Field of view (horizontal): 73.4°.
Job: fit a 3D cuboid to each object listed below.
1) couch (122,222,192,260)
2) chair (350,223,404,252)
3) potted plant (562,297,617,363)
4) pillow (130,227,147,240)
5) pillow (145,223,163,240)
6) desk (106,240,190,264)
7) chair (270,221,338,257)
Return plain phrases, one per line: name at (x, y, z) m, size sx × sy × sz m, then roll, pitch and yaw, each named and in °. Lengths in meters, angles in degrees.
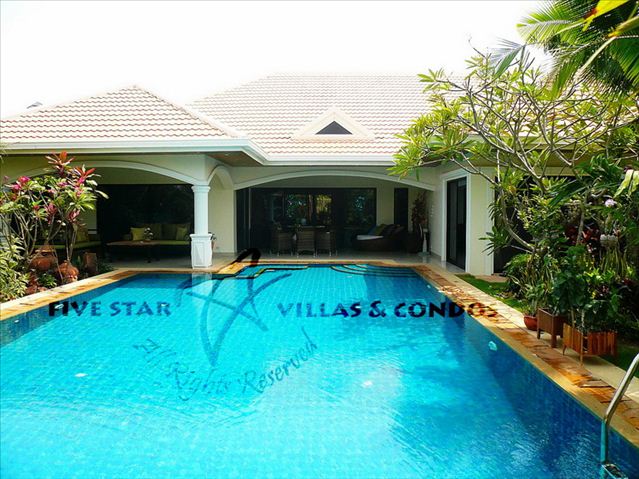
couch at (-6.013, 0.315, 16.533) m, size 2.343 × 1.159 × 1.596 m, roll 0°, pitch 3°, yaw -12°
chair at (2.491, -0.027, 18.160) m, size 1.639 × 0.828 × 1.356 m, roll 4°, pitch -1°, yaw -3°
potted plant at (3.506, 1.203, 5.747) m, size 0.586 × 0.531 × 0.911 m, roll -2°, pitch -5°, yaw 7°
pillow at (-6.939, -0.223, 16.379) m, size 0.574 × 0.491 × 0.186 m, roll 4°, pitch -30°, yaw -19°
pillow at (-6.593, -0.305, 16.940) m, size 0.762 × 0.606 × 0.246 m, roll -1°, pitch -2°, yaw -12°
desk at (-6.319, 0.349, 16.052) m, size 2.767 × 0.812 × 2.789 m, roll -2°, pitch 6°, yaw -18°
chair at (-0.665, -0.011, 16.979) m, size 1.906 × 0.729 × 1.468 m, roll -3°, pitch 6°, yaw -26°
